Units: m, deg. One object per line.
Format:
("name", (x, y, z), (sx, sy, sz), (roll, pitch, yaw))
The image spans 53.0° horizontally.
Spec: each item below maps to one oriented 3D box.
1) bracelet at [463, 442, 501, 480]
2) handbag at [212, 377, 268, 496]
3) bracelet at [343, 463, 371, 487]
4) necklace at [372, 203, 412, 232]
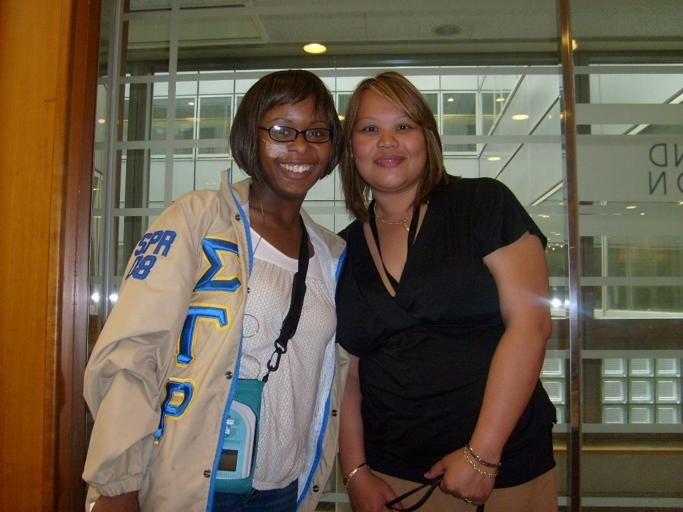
("bracelet", (0.588, 0.868, 2.902), (0.122, 0.052, 0.135), (-1, 44, -49))
("handbag", (-0.426, 0.752, 2.866), (0.293, 0.401, 0.092), (6, -4, -13))
("bracelet", (0.080, 0.996, 3.167), (0.034, 0.116, 0.094), (38, -4, -16))
("necklace", (0.245, -0.180, 3.313), (0.141, 0.119, 0.071), (-4, -17, 16))
